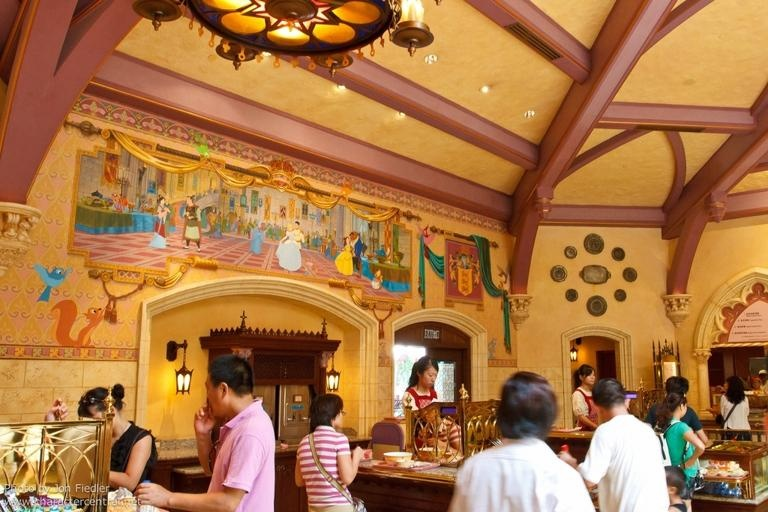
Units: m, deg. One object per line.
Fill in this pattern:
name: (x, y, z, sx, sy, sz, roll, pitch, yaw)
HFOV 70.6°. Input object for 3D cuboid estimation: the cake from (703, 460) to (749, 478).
cake: (4.102, 2.571, 6.558, 0.484, 0.176, 0.402, -7, -18, 27)

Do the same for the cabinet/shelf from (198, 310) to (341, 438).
cabinet/shelf: (-1.589, 1.595, 7.466, 1.786, 1.972, 1.136, 16, -30, -38)
